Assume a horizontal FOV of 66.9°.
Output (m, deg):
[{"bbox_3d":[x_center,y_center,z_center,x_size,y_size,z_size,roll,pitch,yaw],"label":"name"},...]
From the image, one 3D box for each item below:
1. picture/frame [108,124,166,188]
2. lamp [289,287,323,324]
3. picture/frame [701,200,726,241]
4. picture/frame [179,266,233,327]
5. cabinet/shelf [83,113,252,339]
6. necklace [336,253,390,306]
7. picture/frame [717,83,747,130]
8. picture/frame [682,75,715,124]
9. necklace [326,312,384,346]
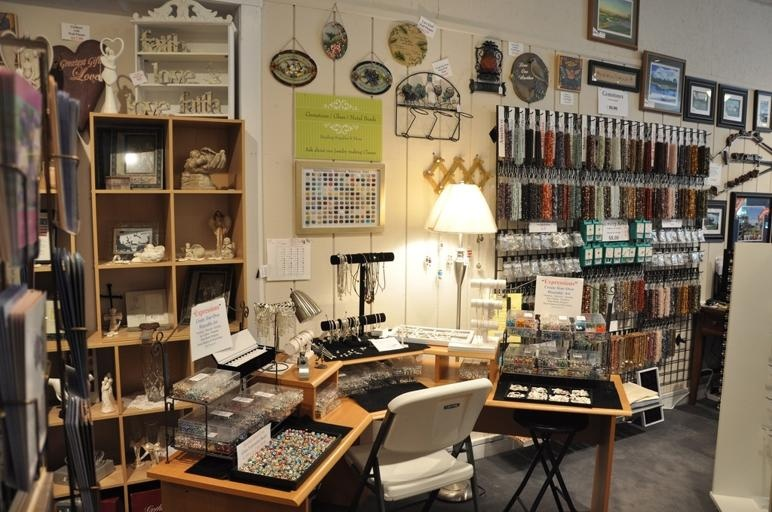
[{"bbox_3d":[-1.712,-0.684,4.191,0.403,0.470,0.254,3,6,5],"label":"picture/frame"},{"bbox_3d":[-0.568,0.372,4.050,0.202,0.235,0.092,-21,-10,-40],"label":"lamp"},{"bbox_3d":[3.456,-0.386,6.178,0.406,0.454,0.035,-6,7,-42],"label":"picture/frame"},{"bbox_3d":[-1.254,0.293,4.091,0.405,0.484,0.041,2,-13,-3],"label":"picture/frame"},{"bbox_3d":[-1.560,-0.371,4.270,0.989,0.454,1.661,-1,44,-21],"label":"cabinet/shelf"},{"bbox_3d":[-0.196,0.174,4.594,0.387,0.415,0.095,-4,25,-21],"label":"necklace"},{"bbox_3d":[3.642,-1.588,6.160,0.497,0.512,0.039,-2,5,-36],"label":"picture/frame"},{"bbox_3d":[3.172,-1.608,5.944,0.515,0.533,0.040,0,3,-35],"label":"picture/frame"},{"bbox_3d":[-0.176,0.535,4.389,0.563,0.212,0.172,-3,4,-32],"label":"necklace"}]
